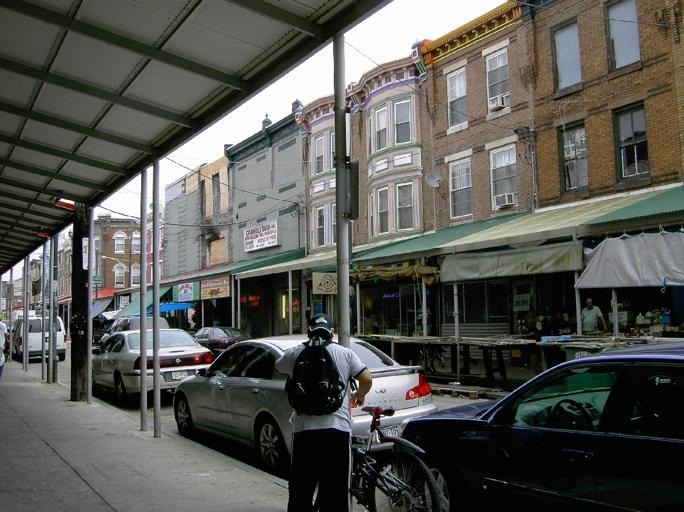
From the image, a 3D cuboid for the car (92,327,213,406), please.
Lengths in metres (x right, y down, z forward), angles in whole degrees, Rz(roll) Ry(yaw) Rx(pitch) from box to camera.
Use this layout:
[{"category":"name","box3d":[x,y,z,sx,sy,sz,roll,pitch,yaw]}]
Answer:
[{"category":"car","box3d":[-4.681,2.403,16.394,1.635,1.117,3.599,1,-5,-34]}]

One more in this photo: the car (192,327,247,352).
[{"category":"car","box3d":[-4.399,2.931,25.548,1.256,0.929,2.794,2,-4,-29]}]

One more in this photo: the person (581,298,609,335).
[{"category":"person","box3d":[6.385,1.543,17.796,0.640,1.182,0.366,-11,-4,23]}]

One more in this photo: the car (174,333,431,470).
[{"category":"car","box3d":[-1.007,2.145,10.970,1.713,1.334,4.023,4,-8,-36]}]
